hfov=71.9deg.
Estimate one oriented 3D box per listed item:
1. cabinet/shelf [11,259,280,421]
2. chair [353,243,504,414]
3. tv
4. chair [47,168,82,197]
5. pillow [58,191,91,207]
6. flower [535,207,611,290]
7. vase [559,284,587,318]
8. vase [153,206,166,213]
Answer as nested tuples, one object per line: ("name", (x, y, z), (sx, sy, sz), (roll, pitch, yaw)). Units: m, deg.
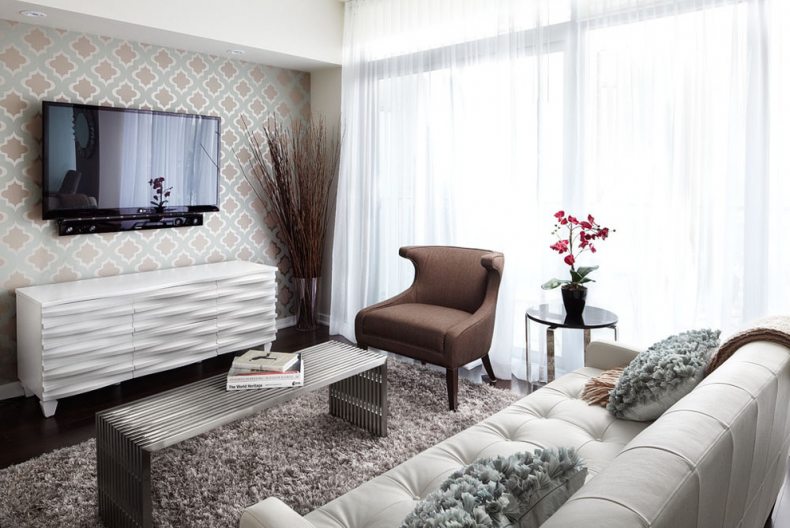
("cabinet/shelf", (-1.969, 0.489, 4.721), (1.872, 0.779, 0.606), (-9, 19, -42))
("chair", (0.338, 0.428, 4.532), (1.041, 1.114, 1.020), (7, 6, 36))
("tv", (-2.226, -0.853, 4.627), (1.381, 0.940, 0.039), (-1, 0, -12))
("chair", (-2.607, -0.640, 4.343), (0.141, 0.263, 0.229), (19, 7, 19))
("pillow", (-2.577, -0.521, 4.394), (0.125, 0.167, 0.121), (1, 6, 21))
("flower", (1.397, -0.056, 4.107), (0.454, 0.579, 0.446), (4, -12, -6))
("vase", (1.239, 0.267, 3.903), (0.199, 0.252, 0.219), (0, -2, 1))
("vase", (-2.099, -0.486, 4.858), (0.055, 0.051, 0.065), (-6, 8, -42))
